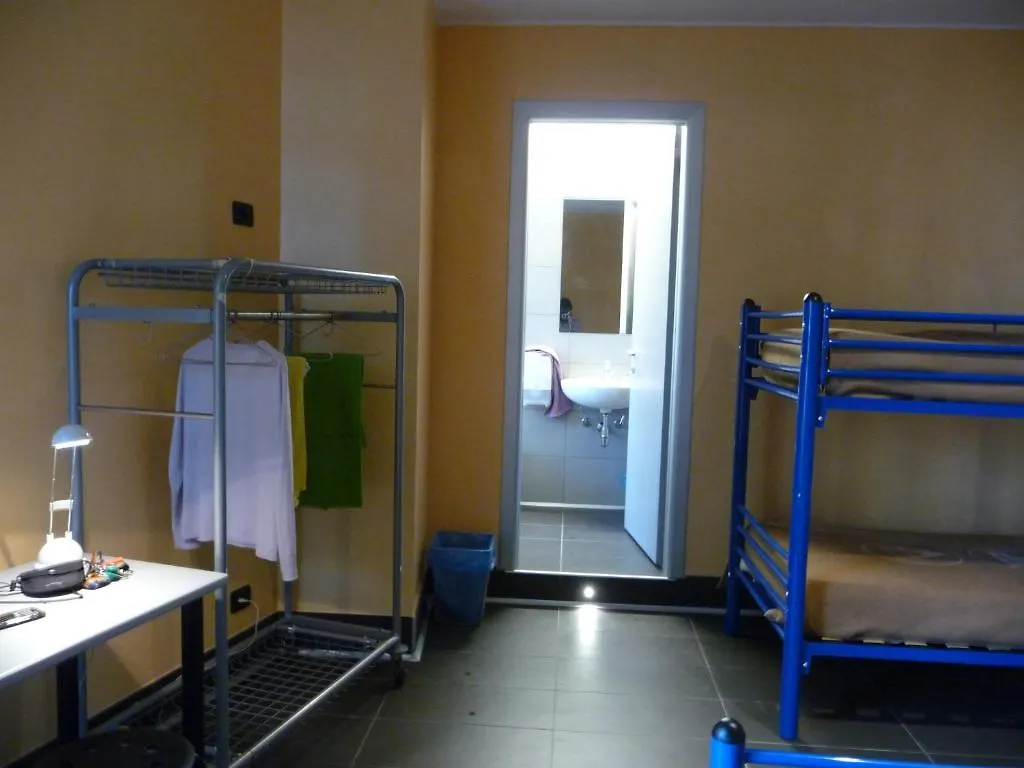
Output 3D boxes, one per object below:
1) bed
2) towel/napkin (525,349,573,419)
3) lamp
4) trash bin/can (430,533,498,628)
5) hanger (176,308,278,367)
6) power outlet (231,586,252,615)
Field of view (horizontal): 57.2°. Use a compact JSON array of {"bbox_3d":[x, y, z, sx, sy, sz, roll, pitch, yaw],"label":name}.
[{"bbox_3d":[1.494,0.413,3.981,0.979,1.662,1.224,2,13,1],"label":"bed"},{"bbox_3d":[0.245,-0.028,5.976,0.297,0.460,0.228,3,-13,6],"label":"towel/napkin"},{"bbox_3d":[-1.509,0.341,3.164,0.181,0.457,0.451,-4,14,-24],"label":"lamp"},{"bbox_3d":[-0.235,0.901,4.462,0.313,0.378,0.337,1,13,-1],"label":"trash bin/can"},{"bbox_3d":[-1.076,-0.168,3.490,0.241,0.169,0.013,0,4,-13],"label":"hanger"},{"bbox_3d":[-1.149,0.917,4.002,0.022,0.124,0.135,7,14,25],"label":"power outlet"}]
